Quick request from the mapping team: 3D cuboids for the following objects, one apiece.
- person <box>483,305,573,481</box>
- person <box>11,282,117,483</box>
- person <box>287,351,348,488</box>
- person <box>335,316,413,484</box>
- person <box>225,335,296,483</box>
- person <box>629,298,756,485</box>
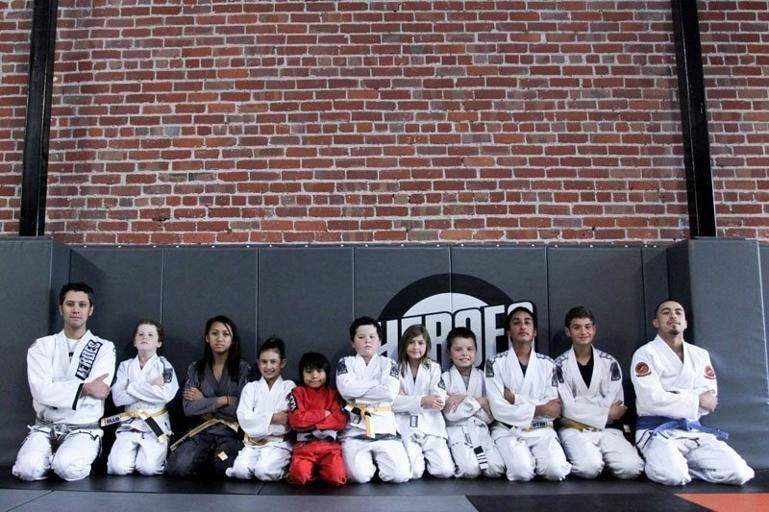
[{"bbox_3d":[1.298,1.243,7.417,0.763,1.509,0.378,1,-6,7],"label":"person"},{"bbox_3d":[-2.860,1.109,7.334,0.787,1.722,0.385,3,-6,-16],"label":"person"},{"bbox_3d":[-0.590,1.443,7.312,0.544,1.126,0.360,2,-6,-6],"label":"person"},{"bbox_3d":[-0.090,1.284,7.375,0.690,1.439,0.381,2,-6,-3],"label":"person"},{"bbox_3d":[-1.107,1.367,7.355,0.573,1.231,0.282,2,-6,-7],"label":"person"},{"bbox_3d":[2.676,1.203,7.263,0.902,1.582,0.406,0,-6,15],"label":"person"}]
